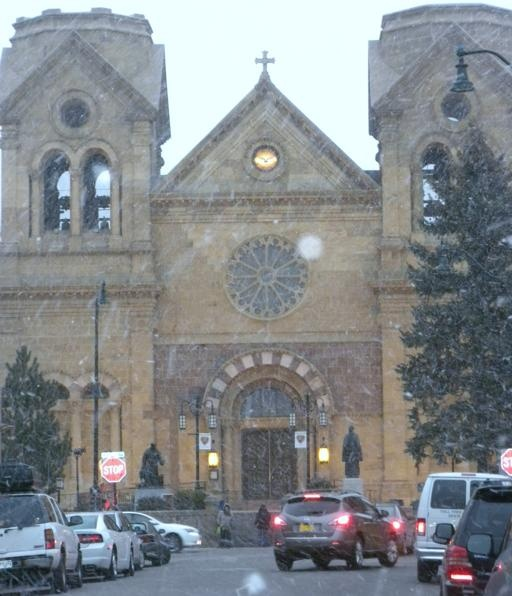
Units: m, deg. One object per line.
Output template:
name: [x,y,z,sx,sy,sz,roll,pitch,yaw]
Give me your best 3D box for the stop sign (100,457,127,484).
stop sign: [-4.197,5.018,54.736,0.656,0.755,0.673,1,-10,-14]
